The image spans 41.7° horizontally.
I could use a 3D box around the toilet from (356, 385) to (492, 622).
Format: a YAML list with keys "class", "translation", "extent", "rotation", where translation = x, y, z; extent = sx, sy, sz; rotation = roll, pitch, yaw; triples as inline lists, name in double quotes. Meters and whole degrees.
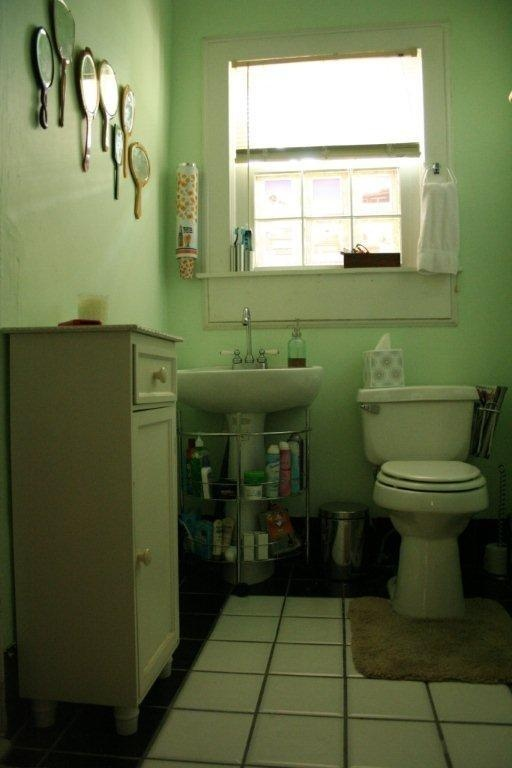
- class: "toilet"
  translation: [0.489, 0.330, 2.046]
  extent: [0.392, 0.621, 0.477]
  rotation: [0, 3, 15]

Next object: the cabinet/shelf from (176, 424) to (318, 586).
- class: "cabinet/shelf"
  translation: [-0.059, 0.385, 2.328]
  extent: [0.492, 0.537, 0.588]
  rotation: [-1, 3, 4]

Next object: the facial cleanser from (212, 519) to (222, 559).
- class: "facial cleanser"
  translation: [-0.124, 0.497, 2.153]
  extent: [0.034, 0.111, 0.028]
  rotation: [-2, 3, -20]

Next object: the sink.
- class: "sink"
  translation: [-0.011, 0.026, 2.059]
  extent: [0.452, 0.146, 0.211]
  rotation: [-2, 3, -10]

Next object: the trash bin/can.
- class: "trash bin/can"
  translation: [0.295, 0.538, 2.282]
  extent: [0.179, 0.311, 0.187]
  rotation: [0, -2, 1]

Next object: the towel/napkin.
- class: "towel/napkin"
  translation: [0.665, -0.572, 2.454]
  extent: [0.143, 0.329, 0.053]
  rotation: [0, 2, 14]

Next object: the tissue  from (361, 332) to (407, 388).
- class: "tissue "
  translation: [0.434, -0.083, 2.310]
  extent: [0.147, 0.253, 0.168]
  rotation: [1, 1, 8]

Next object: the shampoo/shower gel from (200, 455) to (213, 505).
- class: "shampoo/shower gel"
  translation: [-0.163, 0.297, 2.161]
  extent: [0.036, 0.146, 0.122]
  rotation: [-1, 3, -5]

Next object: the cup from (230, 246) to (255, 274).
- class: "cup"
  translation: [-0.057, -0.486, 2.676]
  extent: [0.085, 0.114, 0.104]
  rotation: [3, 5, 32]

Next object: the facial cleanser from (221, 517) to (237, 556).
- class: "facial cleanser"
  translation: [-0.089, 0.495, 2.177]
  extent: [0.027, 0.115, 0.037]
  rotation: [1, 2, 7]
